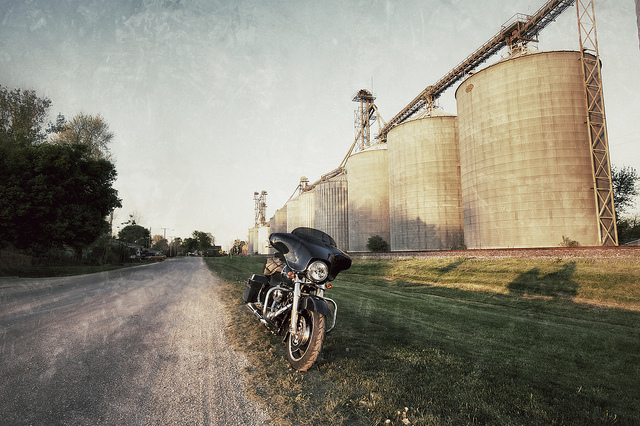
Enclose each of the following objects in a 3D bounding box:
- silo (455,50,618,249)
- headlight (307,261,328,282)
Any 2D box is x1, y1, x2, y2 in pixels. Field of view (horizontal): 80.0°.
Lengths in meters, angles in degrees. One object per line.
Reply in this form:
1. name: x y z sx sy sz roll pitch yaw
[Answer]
1. silo: 20.162 -5.447 35.398 8.537 15.267 38.772 8 15 37
2. headlight: -0.077 1.576 10.191 0.495 0.528 0.154 16 -9 -18
